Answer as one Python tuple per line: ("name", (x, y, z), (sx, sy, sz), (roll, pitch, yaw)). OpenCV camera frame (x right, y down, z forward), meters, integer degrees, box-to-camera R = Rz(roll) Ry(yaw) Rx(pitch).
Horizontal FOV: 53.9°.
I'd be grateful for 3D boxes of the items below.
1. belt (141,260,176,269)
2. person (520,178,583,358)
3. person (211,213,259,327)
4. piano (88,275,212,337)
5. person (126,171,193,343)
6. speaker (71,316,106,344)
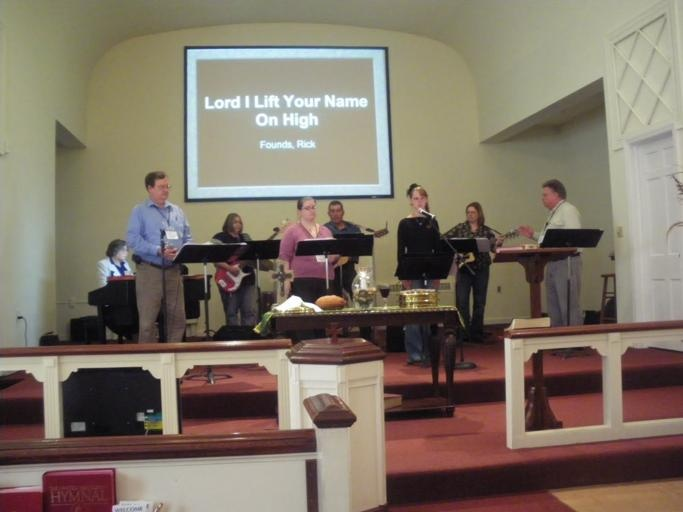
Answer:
("belt", (-1.565, 0.067, 5.741), (0.321, 0.074, 0.282), (-1, -3, -18))
("person", (2.182, 0.083, 6.868), (0.506, 1.819, 1.344), (-2, -3, 20))
("person", (-1.226, 0.219, 7.591), (0.541, 1.549, 0.165), (-2, 0, -14))
("piano", (-1.839, 0.483, 6.900), (1.044, 0.762, 0.775), (-8, -5, -12))
("person", (-1.605, 0.006, 5.881), (0.536, 1.480, 0.649), (-1, -3, -9))
("speaker", (-3.015, 0.880, 8.009), (0.415, 0.321, 0.242), (-1, -6, 8))
